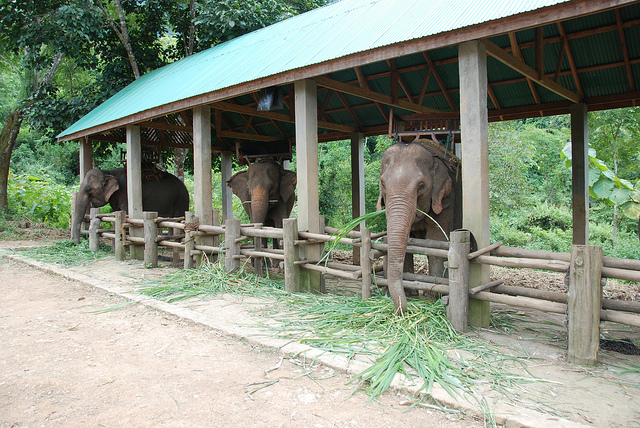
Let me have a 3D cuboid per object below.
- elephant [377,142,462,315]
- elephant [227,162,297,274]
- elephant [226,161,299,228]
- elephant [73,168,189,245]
[{"bbox_3d":[1.712,0.196,8.832,1.268,2.576,3.139,0,0,26],"label":"elephant"},{"bbox_3d":[-1.216,0.085,12.666,1.719,2.547,3.041,-5,-4,3],"label":"elephant"},{"bbox_3d":[-1.207,-0.414,12.087,1.405,1.555,1.455,-3,9,-22],"label":"elephant"},{"bbox_3d":[-4.771,-0.202,13.252,2.791,1.840,1.029,-3,9,-21],"label":"elephant"}]
